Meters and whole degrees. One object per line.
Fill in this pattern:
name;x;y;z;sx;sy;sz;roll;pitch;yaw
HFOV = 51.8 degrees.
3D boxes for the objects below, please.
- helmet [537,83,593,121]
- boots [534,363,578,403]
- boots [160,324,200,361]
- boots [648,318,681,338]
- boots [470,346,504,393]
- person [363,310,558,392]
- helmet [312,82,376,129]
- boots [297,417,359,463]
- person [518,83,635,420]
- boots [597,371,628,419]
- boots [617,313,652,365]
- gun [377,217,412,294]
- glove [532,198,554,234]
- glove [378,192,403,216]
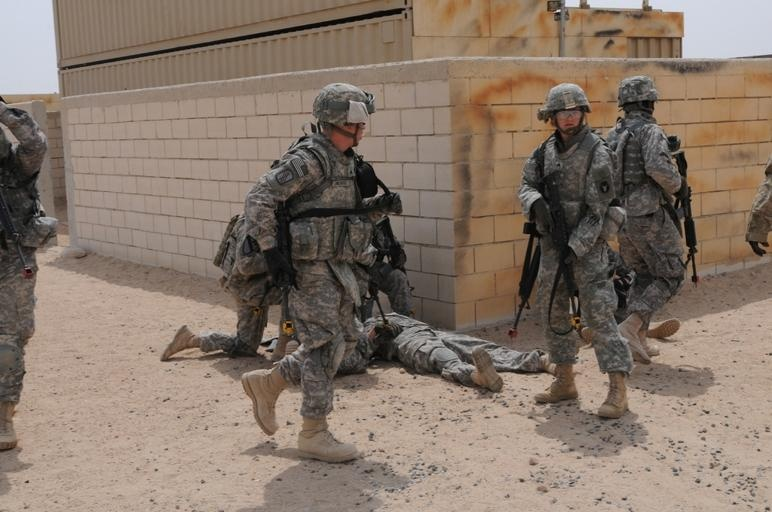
helmet;1.609;-1.378;7.198;0.481;0.269;0.449;-5;5;-8
boots;1.490;1.202;7.367;0.567;0.390;0.220;-1;2;-9
boots;-2.294;0.954;8.859;0.454;0.404;0.169;-3;36;-34
boots;3.098;0.831;8.862;0.474;0.140;0.197;-14;-4;-5
boots;0.968;1.119;7.700;0.158;0.377;0.265;-32;16;-15
person;0.706;1.001;8.129;1.654;0.394;0.811;10;15;37
helmet;-0.317;-1.231;6.468;0.481;0.232;0.344;-11;22;-23
boots;-0.357;1.525;6.554;0.680;0.363;0.234;2;4;3
person;1.704;-0.067;7.136;1.163;2.878;0.742;7;16;26
boots;2.015;1.233;7.072;0.197;0.378;0.456;2;9;34
boots;2.504;0.841;8.010;0.224;0.482;0.171;-14;-17;-40
gun;0.098;-0.085;8.466;0.193;0.754;0.320;-33;22;-21
glove;1.392;-0.355;7.110;0.117;0.275;0.211;-9;-3;-19
glove;0.038;-0.447;6.736;0.158;0.130;0.190;-1;8;-10
